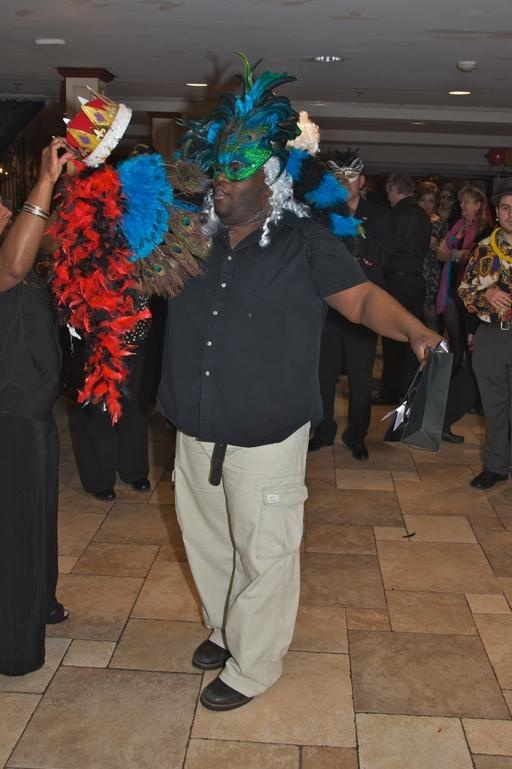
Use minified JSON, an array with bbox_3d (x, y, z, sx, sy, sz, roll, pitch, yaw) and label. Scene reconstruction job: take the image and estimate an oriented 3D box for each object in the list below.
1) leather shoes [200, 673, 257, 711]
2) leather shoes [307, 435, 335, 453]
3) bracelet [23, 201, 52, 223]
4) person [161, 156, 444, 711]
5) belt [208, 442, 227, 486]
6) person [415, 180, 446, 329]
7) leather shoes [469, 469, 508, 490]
[{"bbox_3d":[-0.077,0.847,1.713,0.134,0.049,0.068,3,27,-14],"label":"leather shoes"},{"bbox_3d":[0.432,0.408,4.300,0.251,0.088,0.078,-10,31,-17],"label":"leather shoes"},{"bbox_3d":[-0.560,-0.435,1.592,0.074,0.037,0.050,-6,12,-37],"label":"bracelet"},{"bbox_3d":[0.044,0.182,1.642,0.703,1.450,0.255,5,11,19],"label":"person"},{"bbox_3d":[-0.104,0.207,1.611,0.065,0.097,0.025,4,4,-20],"label":"belt"},{"bbox_3d":[1.652,-1.157,5.677,0.348,1.045,0.301,6,-26,8],"label":"person"},{"bbox_3d":[1.390,0.552,3.678,0.265,0.100,0.096,2,10,-40],"label":"leather shoes"}]
